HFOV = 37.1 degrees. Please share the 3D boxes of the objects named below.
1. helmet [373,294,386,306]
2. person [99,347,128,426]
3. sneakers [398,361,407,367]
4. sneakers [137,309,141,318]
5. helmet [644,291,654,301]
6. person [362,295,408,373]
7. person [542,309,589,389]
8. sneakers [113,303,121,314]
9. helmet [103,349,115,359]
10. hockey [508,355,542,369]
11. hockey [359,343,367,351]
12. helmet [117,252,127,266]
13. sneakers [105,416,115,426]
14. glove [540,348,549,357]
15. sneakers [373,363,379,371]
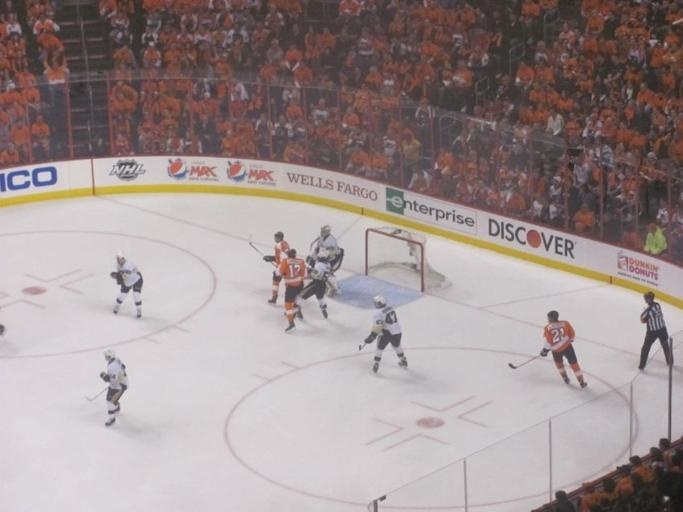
[{"bbox_3d":[0.764,0.944,20.831,0.220,0.227,0.178,-29,11,12],"label":"helmet"},{"bbox_3d":[-4.404,2.463,19.809,0.483,1.473,0.980,1,19,-12],"label":"person"},{"bbox_3d":[1.285,2.286,21.371,0.175,0.123,0.092,4,15,28],"label":"sneakers"},{"bbox_3d":[-4.629,1.294,23.283,0.121,0.206,0.177,1,19,-11],"label":"sneakers"},{"bbox_3d":[6.214,0.809,20.450,0.179,0.219,0.231,2,24,9],"label":"helmet"},{"bbox_3d":[0.852,1.589,21.121,0.879,1.586,0.815,-9,15,-26],"label":"person"},{"bbox_3d":[4.427,1.864,20.526,0.723,1.731,0.609,-11,16,21],"label":"person"},{"bbox_3d":[-5.169,1.174,23.436,0.152,0.286,0.412,1,19,-12],"label":"sneakers"},{"bbox_3d":[-4.423,1.911,19.486,0.200,0.231,0.226,1,19,-12],"label":"helmet"},{"bbox_3d":[3.815,2.250,21.426,0.317,0.167,0.984,22,24,40],"label":"hockey"},{"bbox_3d":[0.469,1.979,21.897,0.207,0.211,0.030,-39,43,-12],"label":"hockey"},{"bbox_3d":[-4.960,0.073,22.932,0.186,0.225,0.281,-25,-20,-6],"label":"helmet"},{"bbox_3d":[-4.464,3.204,19.614,0.113,0.107,0.247,22,38,21],"label":"sneakers"},{"bbox_3d":[4.055,1.938,20.353,0.123,0.105,0.247,13,22,27],"label":"glove"},{"bbox_3d":[0.714,2.336,21.130,0.101,0.165,0.163,6,48,-5],"label":"sneakers"}]
